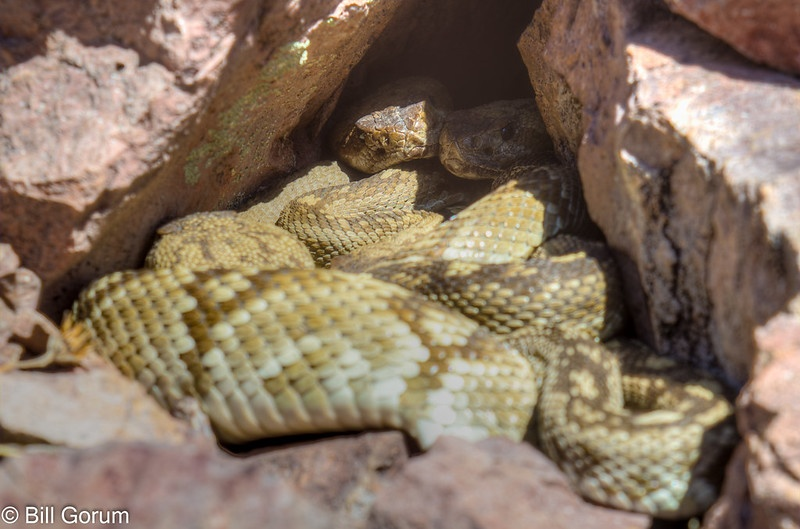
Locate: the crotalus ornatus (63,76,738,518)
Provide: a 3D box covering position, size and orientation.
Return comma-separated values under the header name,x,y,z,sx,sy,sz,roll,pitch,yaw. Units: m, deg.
name,x,y,z,sx,sy,sz,roll,pitch,yaw
crotalus ornatus,0.009,0.058,3.035,1.054,0.323,1.286,-5,43,-9
